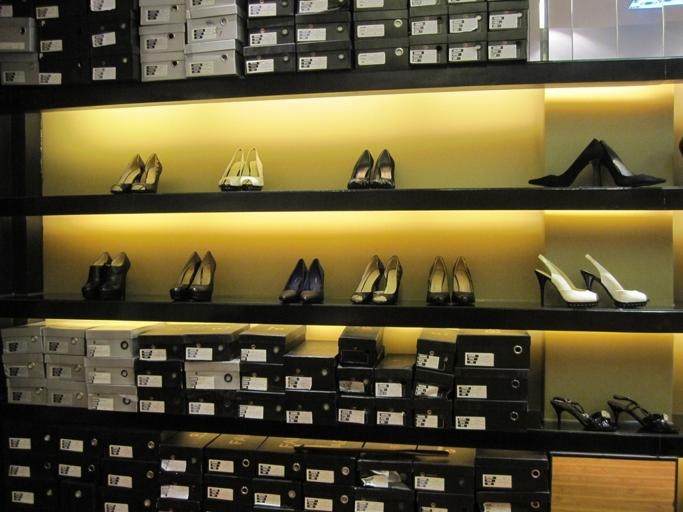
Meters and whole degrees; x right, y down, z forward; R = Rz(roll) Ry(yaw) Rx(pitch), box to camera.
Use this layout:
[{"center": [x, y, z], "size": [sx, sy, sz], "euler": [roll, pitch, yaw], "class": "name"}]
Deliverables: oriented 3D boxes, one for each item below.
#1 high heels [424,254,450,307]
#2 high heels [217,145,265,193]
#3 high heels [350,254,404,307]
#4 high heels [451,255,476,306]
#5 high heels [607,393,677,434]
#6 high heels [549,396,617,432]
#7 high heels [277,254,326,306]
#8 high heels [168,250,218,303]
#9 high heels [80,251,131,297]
[{"center": [0.566, 0.147, 4.716], "size": [0.105, 0.317, 0.113], "euler": [0, -27, 12], "class": "high heels"}, {"center": [-0.588, -0.543, 4.940], "size": [0.210, 0.145, 0.366], "euler": [1, 21, 8], "class": "high heels"}, {"center": [0.230, 0.138, 4.761], "size": [0.195, 0.142, 0.362], "euler": [2, 19, 23], "class": "high heels"}, {"center": [0.716, 0.147, 4.719], "size": [0.108, 0.115, 0.326], "euler": [-5, 34, 12], "class": "high heels"}, {"center": [1.766, 0.884, 4.505], "size": [0.476, 0.219, 0.161], "euler": [-3, 9, 33], "class": "high heels"}, {"center": [1.381, 0.890, 4.546], "size": [0.416, 0.178, 0.151], "euler": [0, 2, 16], "class": "high heels"}, {"center": [-0.223, 0.148, 4.787], "size": [0.184, 0.127, 0.324], "euler": [1, 17, 16], "class": "high heels"}, {"center": [-0.889, 0.120, 4.945], "size": [0.201, 0.161, 0.381], "euler": [0, 20, 16], "class": "high heels"}, {"center": [-1.460, 0.124, 5.012], "size": [0.205, 0.154, 0.361], "euler": [1, 7, 3], "class": "high heels"}]
